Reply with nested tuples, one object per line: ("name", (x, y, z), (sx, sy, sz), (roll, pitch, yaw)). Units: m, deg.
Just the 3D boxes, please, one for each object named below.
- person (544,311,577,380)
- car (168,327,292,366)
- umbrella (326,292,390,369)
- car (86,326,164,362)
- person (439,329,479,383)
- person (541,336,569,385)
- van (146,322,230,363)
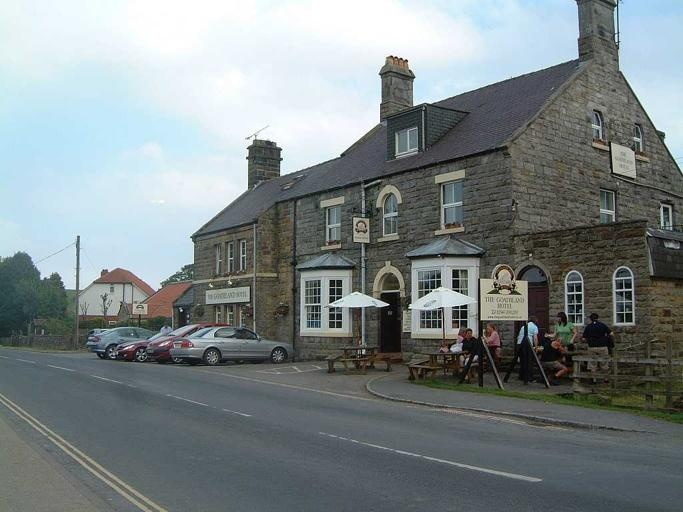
("person", (6.617, 2.628, 21.243), (0.818, 1.845, 0.581), (-5, -3, 31))
("car", (-4.565, 3.623, 29.530), (4.365, 1.357, 1.762), (1, -4, -32))
("umbrella", (0.582, 2.652, 26.885), (2.277, 2.029, 2.242), (4, -10, -34))
("car", (-10.822, 4.391, 35.791), (3.326, 1.153, 1.512), (-1, -1, -26))
("person", (3.930, 3.138, 22.688), (1.399, 1.022, 1.503), (-3, -5, 27))
("person", (6.425, 2.994, 20.942), (0.874, 1.404, 0.799), (-4, 13, -25))
("van", (-6.493, 3.837, 31.245), (3.882, 1.307, 1.628), (3, -6, -23))
